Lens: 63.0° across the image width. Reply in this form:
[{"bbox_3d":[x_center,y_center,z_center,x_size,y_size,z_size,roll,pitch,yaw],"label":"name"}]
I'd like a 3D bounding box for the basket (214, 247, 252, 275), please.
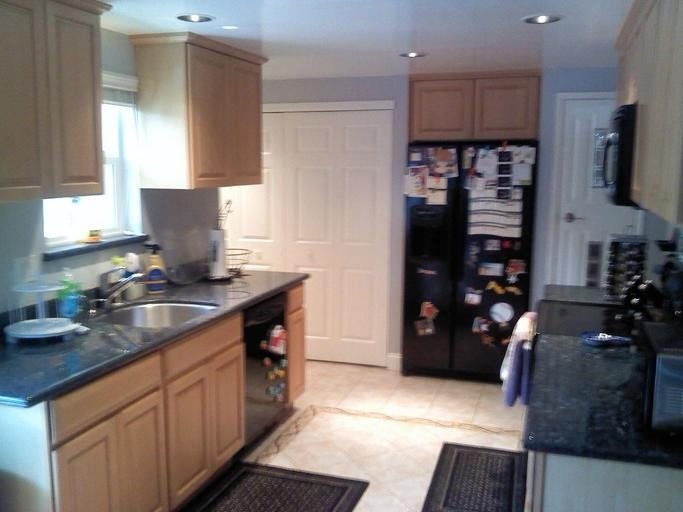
[{"bbox_3d":[-0.949,0.038,5.004,0.298,0.164,0.288,0,2,-27],"label":"basket"}]

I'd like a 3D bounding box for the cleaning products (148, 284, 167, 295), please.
[{"bbox_3d":[-1.163,0.210,3.515,0.075,0.049,0.075,1,0,37],"label":"cleaning products"}]

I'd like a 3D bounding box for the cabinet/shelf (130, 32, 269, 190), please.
[{"bbox_3d":[-0.932,-0.931,3.510,0.369,0.795,0.983,2,6,16],"label":"cabinet/shelf"}]

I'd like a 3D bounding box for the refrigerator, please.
[{"bbox_3d":[1.042,0.060,4.669,1.053,2.014,0.315,3,13,16],"label":"refrigerator"}]

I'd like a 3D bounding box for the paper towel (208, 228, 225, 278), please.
[{"bbox_3d":[-0.875,-0.012,3.931,0.142,0.338,0.138,-2,4,-27],"label":"paper towel"}]

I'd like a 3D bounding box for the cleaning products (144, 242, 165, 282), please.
[{"bbox_3d":[-1.202,0.030,3.568,0.123,0.236,0.193,-4,12,-18],"label":"cleaning products"}]
